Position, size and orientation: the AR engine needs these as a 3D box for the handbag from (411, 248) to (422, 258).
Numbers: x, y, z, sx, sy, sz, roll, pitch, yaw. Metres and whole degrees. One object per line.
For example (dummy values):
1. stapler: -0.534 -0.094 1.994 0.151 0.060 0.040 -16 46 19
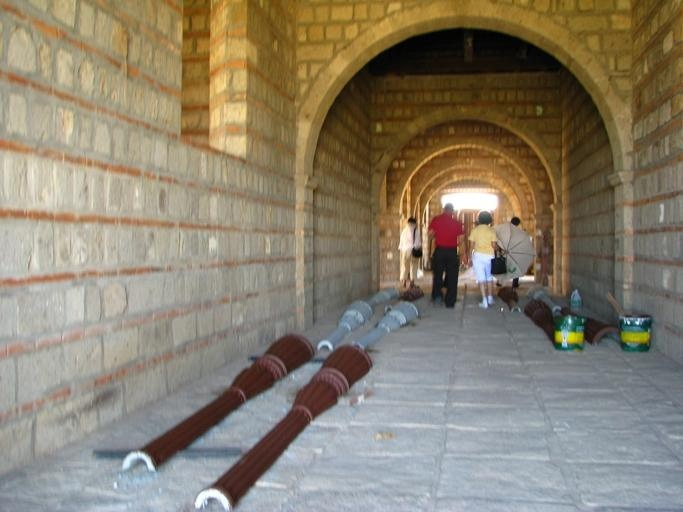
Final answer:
1. handbag: 1.755 -0.054 12.646 0.181 0.232 0.210 2 -3 -1

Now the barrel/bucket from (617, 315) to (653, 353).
1. barrel/bucket: 3.137 0.802 5.838 0.286 0.373 0.321 -2 8 13

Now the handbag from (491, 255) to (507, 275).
1. handbag: 2.698 0.174 9.407 0.108 0.290 0.288 5 4 43

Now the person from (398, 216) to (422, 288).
1. person: 1.630 -0.043 12.959 0.483 1.747 1.624 1 4 6

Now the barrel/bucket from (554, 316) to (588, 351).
1. barrel/bucket: 2.415 0.826 5.841 0.301 0.387 0.336 0 -8 6

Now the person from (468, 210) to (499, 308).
1. person: 2.509 0.058 9.685 0.423 1.679 1.776 1 5 15
